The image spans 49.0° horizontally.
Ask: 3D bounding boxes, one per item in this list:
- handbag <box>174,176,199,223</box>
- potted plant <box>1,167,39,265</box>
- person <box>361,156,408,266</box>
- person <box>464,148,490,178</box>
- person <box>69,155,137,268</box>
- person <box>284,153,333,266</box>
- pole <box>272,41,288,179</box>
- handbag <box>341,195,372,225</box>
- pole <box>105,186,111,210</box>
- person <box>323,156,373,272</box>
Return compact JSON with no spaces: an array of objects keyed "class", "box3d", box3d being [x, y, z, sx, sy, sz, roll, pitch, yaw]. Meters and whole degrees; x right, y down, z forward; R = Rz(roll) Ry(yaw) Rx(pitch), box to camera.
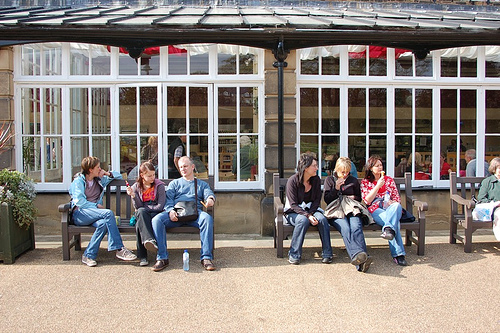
[{"class":"handbag","box3d":[-1.023,0.635,8.889,0.372,0.731,0.297,2,-26,-3]},{"class":"potted plant","box3d":[-3.892,0.809,9.140,0.388,1.490,0.696,-1,4,15]},{"class":"person","box3d":[2.207,0.608,9.178,0.584,1.838,0.874,-12,-38,13]},{"class":"person","box3d":[4.449,-0.075,10.778,0.433,1.007,0.302,-2,12,11]},{"class":"person","box3d":[-2.549,0.723,9.103,0.834,1.741,0.699,-3,4,-21]},{"class":"person","box3d":[0.943,0.678,9.112,0.773,1.793,0.544,-2,3,2]},{"class":"pole","box3d":[0.565,-0.997,10.042,0.242,2.406,0.759,-2,3,3]},{"class":"handbag","box3d":[1.751,0.727,9.070,0.468,0.490,0.277,-3,4,-13]},{"class":"pole","box3d":[-2.464,0.528,9.471,0.070,0.378,0.141,-3,4,-22]},{"class":"person","box3d":[1.594,0.848,8.972,0.608,1.933,0.996,-9,-36,14]}]
